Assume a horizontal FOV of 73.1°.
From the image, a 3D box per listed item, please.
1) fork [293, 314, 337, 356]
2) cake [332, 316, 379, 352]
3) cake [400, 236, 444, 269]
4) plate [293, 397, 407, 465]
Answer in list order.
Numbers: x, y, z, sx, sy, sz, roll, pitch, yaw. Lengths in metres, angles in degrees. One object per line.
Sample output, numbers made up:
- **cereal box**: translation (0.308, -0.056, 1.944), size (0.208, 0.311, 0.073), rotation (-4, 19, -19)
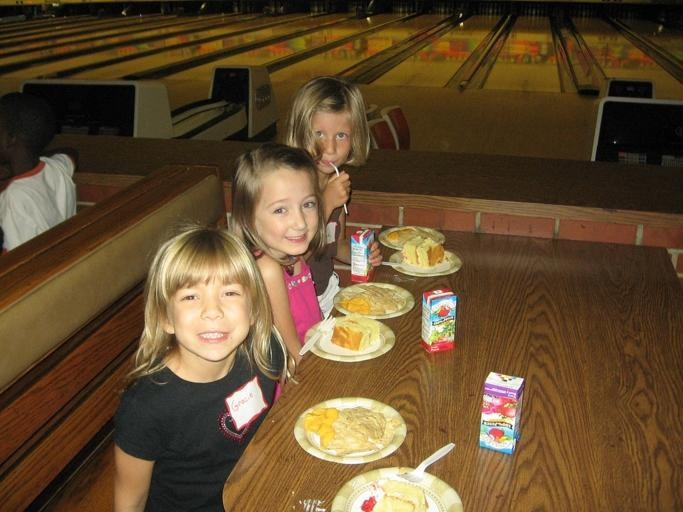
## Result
- **fork**: translation (-0.072, 0.219, 1.306), size (0.042, 0.029, 0.247), rotation (11, 26, 16)
- **cake**: translation (0.040, 0.211, 1.250), size (0.094, 0.061, 0.096), rotation (11, 13, 26)
- **cake**: translation (0.284, -0.035, 1.666), size (0.120, 0.077, 0.115), rotation (9, 17, 36)
- **plate**: translation (0.019, 0.362, 0.984), size (0.240, 0.041, 0.171), rotation (-1, 23, 1)
